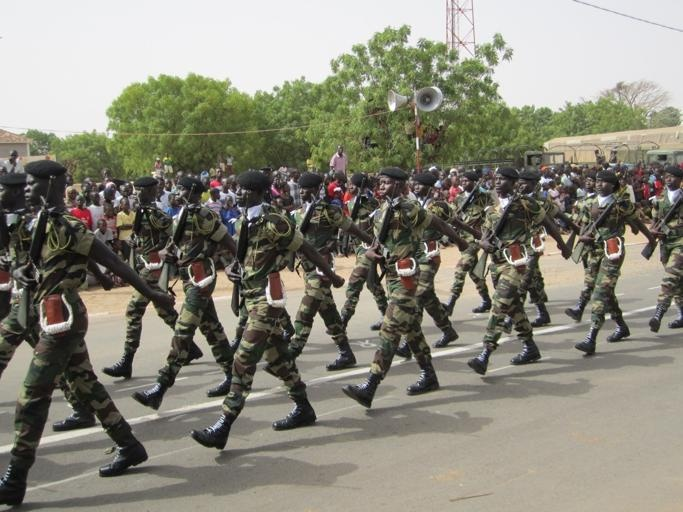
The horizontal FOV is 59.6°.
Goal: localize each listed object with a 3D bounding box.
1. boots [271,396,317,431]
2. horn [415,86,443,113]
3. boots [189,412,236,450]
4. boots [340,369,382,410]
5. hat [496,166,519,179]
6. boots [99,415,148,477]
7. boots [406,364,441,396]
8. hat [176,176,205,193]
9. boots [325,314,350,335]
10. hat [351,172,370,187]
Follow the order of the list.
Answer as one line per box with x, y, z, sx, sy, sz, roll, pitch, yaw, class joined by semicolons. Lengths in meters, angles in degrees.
-0.413;1.601;6.132;0.618;0.341;0.186;-2;-3;-17;boots
2.395;-4.376;16.533;0.671;0.673;0.751;0;8;7;horn
-1.135;1.530;5.291;0.161;0.309;0.454;-1;-25;35;boots
0.306;1.347;6.253;0.172;0.333;0.399;-3;6;-43;boots
2.124;-1.074;7.649;0.194;0.059;0.201;-3;21;-36;hat
-1.840;1.591;5.036;0.384;0.510;0.213;-4;9;-21;boots
0.942;1.427;6.921;0.532;0.325;0.190;-2;-2;-31;boots
-1.639;-0.792;6.648;0.255;0.070;0.201;11;-3;8;hat
0.011;0.942;8.527;0.311;0.355;0.143;-6;-12;0;boots
0.245;-1.143;8.968;0.294;0.151;0.279;-8;19;-35;hat
